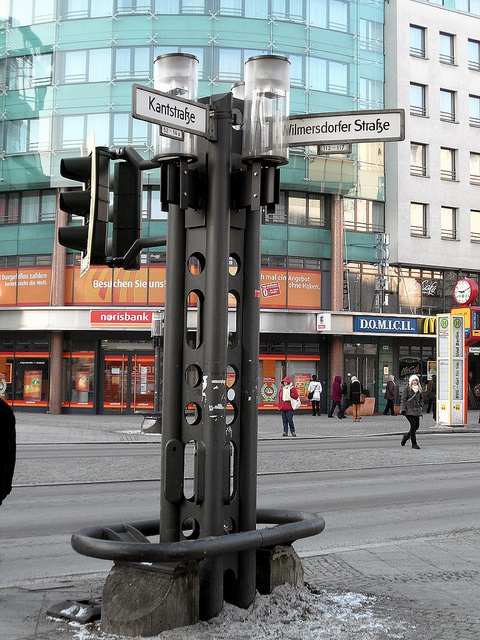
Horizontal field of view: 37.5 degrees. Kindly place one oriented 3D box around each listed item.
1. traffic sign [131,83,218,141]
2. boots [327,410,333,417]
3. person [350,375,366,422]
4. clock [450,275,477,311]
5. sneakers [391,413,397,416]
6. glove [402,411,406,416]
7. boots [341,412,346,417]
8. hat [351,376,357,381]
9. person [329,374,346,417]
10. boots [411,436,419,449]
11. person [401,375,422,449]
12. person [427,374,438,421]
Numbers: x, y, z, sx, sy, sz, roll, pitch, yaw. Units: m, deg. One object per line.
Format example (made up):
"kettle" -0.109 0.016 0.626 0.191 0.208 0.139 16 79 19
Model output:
"traffic sign" -0.374 -1.099 3.702 0.131 0.249 0.674 -1 -4 29
"boots" 3.736 3.850 28.911 0.151 0.203 0.183 3 -4 -1
"person" 4.559 3.040 27.508 0.506 1.683 1.743 0 -3 10
"clock" 8.828 -1.082 27.460 0.612 1.201 1.182 1 -3 -10
"sneakers" 6.798 4.122 30.960 0.108 0.142 0.120 -8 0 26
"glove" 4.070 2.314 17.557 0.087 0.096 0.108 1 2 9
"boots" 4.233 3.850 28.699 0.067 0.230 0.619 0 -3 21
"hat" 4.499 2.286 27.866 0.319 0.128 0.362 0 0 21
"person" 3.938 3.124 28.794 0.536 1.700 1.247 0 -3 7
"boots" 4.357 3.029 17.487 0.184 0.280 0.671 0 -3 12
"person" 4.319 2.288 17.787 0.484 1.803 1.388 0 -3 14
"person" 8.844 3.409 32.583 0.367 1.838 1.993 0 -3 13
